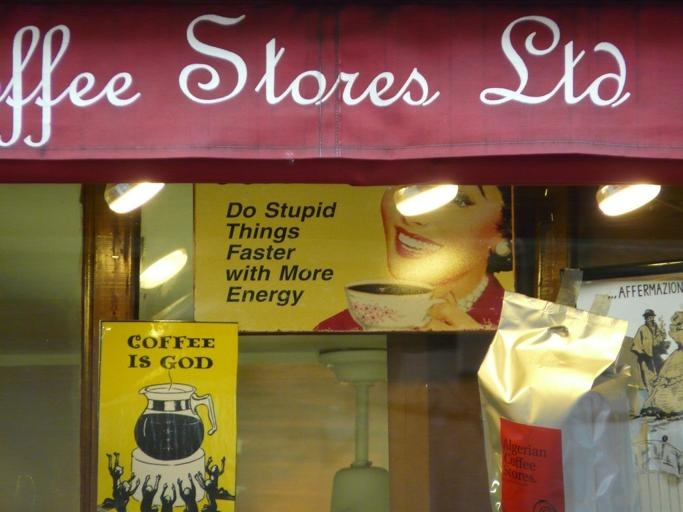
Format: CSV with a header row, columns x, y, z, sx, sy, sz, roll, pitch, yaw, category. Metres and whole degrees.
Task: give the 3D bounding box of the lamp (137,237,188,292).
x,y,z,sx,sy,sz,roll,pitch,yaw,category
-0.936,0.054,6.218,0.213,0.173,0.051,-32,-43,-2,lamp
